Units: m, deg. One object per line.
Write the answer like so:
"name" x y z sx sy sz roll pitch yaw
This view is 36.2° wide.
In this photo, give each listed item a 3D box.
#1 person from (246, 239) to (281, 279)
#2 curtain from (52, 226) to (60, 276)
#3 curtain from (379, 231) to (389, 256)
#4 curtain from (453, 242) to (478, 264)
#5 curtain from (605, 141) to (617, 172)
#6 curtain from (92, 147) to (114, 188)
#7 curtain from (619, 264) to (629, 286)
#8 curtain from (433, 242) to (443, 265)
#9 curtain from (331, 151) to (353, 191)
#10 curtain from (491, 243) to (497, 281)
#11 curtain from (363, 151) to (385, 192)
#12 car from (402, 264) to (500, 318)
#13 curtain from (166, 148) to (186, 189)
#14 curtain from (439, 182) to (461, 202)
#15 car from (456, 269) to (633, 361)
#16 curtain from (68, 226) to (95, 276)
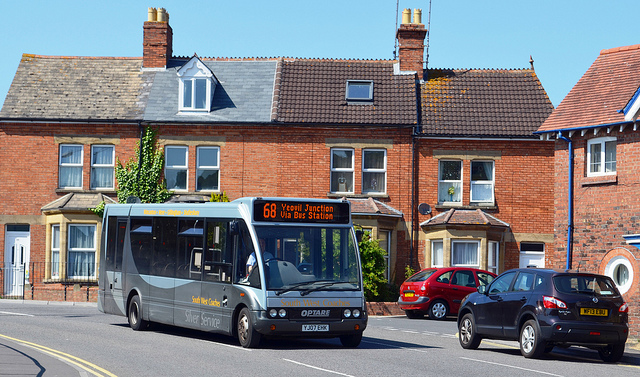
"person" -2.062 2.598 35.599 1.255 2.353 0.737 0 -17 -4
"curtain" -13.755 3.238 51.055 0.389 2.493 0.778 -2 11 -13
"curtain" 3.334 2.840 50.858 0.645 1.314 0.301 -9 14 -42
"curtain" 7.500 3.343 50.484 1.060 0.946 0.125 1 -4 -3
"curtain" 12.784 -1.414 43.238 0.270 1.384 0.802 -4 12 -25
"curtain" -11.499 -1.214 52.020 1.203 2.210 0.092 0 12 -38
"curtain" 12.846 3.671 41.708 0.309 0.822 0.587 -4 12 -25
"curtain" 6.100 3.362 51.013 0.590 1.153 0.320 5 12 22
"curtain" 1.161 -0.940 51.688 1.132 2.047 0.543 1 11 3
"curtain" 9.038 3.594 50.968 0.233 1.510 0.380 2 11 6
"curtain" 2.839 -0.916 51.720 1.135 2.090 0.549 1 11 3
"car" 5.976 4.764 45.279 3.816 1.757 2.284 -2 -1 -20
"curtain" -7.623 -1.143 51.945 1.322 2.661 0.186 1 24 -11
"curtain" 6.861 0.205 51.678 0.966 0.892 0.105 2 -4 2
"car" 8.202 4.621 35.677 5.678 3.308 1.639 4 11 17
"curtain" -12.419 3.201 51.236 1.537 2.887 0.218 1 0 -3
